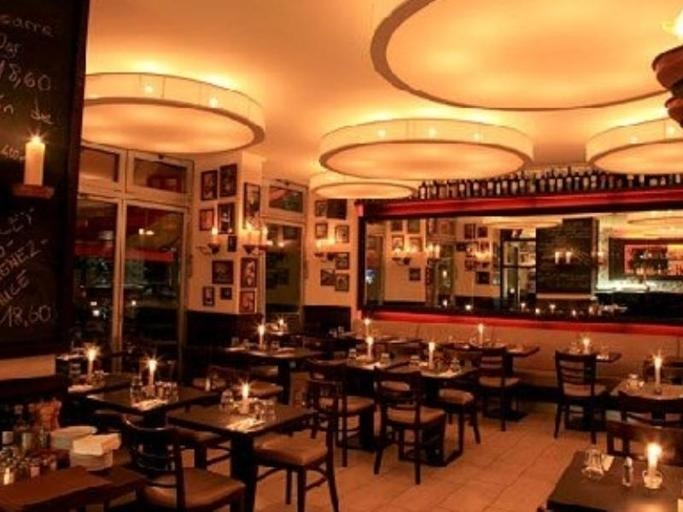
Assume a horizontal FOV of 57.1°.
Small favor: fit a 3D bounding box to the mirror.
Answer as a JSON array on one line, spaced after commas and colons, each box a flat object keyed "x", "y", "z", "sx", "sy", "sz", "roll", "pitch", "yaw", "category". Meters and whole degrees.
[{"x": 2.677, "y": 0.000, "z": 11.079, "sx": 5.551, "sy": 2.908, "sz": 0.379, "roll": 9, "pitch": 11, "yaw": 27, "category": "mirror"}]

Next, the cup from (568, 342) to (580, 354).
[{"x": 3.358, "y": 1.335, "z": 8.993, "sx": 0.171, "sy": 0.164, "sz": 0.170, "roll": 0, "pitch": -1, "yaw": 0, "category": "cup"}]

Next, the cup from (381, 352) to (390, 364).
[{"x": 0.575, "y": 1.340, "z": 8.155, "sx": 0.088, "sy": 0.159, "sz": 0.173, "roll": -7, "pitch": -9, "yaw": 43, "category": "cup"}]

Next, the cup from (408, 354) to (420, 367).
[{"x": 0.924, "y": 1.344, "z": 7.993, "sx": 0.125, "sy": 0.123, "sz": 0.127, "roll": 1, "pitch": -3, "yaw": 0, "category": "cup"}]

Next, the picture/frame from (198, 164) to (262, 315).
[{"x": -1.900, "y": -0.335, "z": 10.276, "sx": 1.274, "sy": 2.560, "sz": 0.788, "roll": 11, "pitch": 12, "yaw": 35, "category": "picture/frame"}]

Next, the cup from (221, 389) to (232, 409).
[{"x": -1.041, "y": 1.309, "z": 5.704, "sx": 0.156, "sy": 0.189, "sz": 0.156, "roll": 1, "pitch": -4, "yaw": 0, "category": "cup"}]

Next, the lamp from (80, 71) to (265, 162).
[{"x": -1.862, "y": -1.477, "z": 6.666, "sx": 1.781, "sy": 0.768, "sz": 1.612, "roll": 8, "pitch": 10, "yaw": 22, "category": "lamp"}]

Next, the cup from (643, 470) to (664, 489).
[{"x": 2.127, "y": 1.529, "z": 4.275, "sx": 0.120, "sy": 0.094, "sz": 0.127, "roll": 4, "pitch": 9, "yaw": -1, "category": "cup"}]

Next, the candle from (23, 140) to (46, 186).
[{"x": -1.972, "y": -0.601, "z": 3.994, "sx": 0.113, "sy": 0.312, "sz": 0.141, "roll": -1, "pitch": 11, "yaw": -27, "category": "candle"}]

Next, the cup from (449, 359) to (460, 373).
[{"x": 1.377, "y": 1.364, "z": 7.736, "sx": 0.145, "sy": 0.179, "sz": 0.148, "roll": 0, "pitch": -1, "yaw": 0, "category": "cup"}]

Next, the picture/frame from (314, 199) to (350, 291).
[{"x": -0.235, "y": -0.219, "z": 12.486, "sx": 1.004, "sy": 1.837, "sz": 0.410, "roll": 11, "pitch": 12, "yaw": 35, "category": "picture/frame"}]
